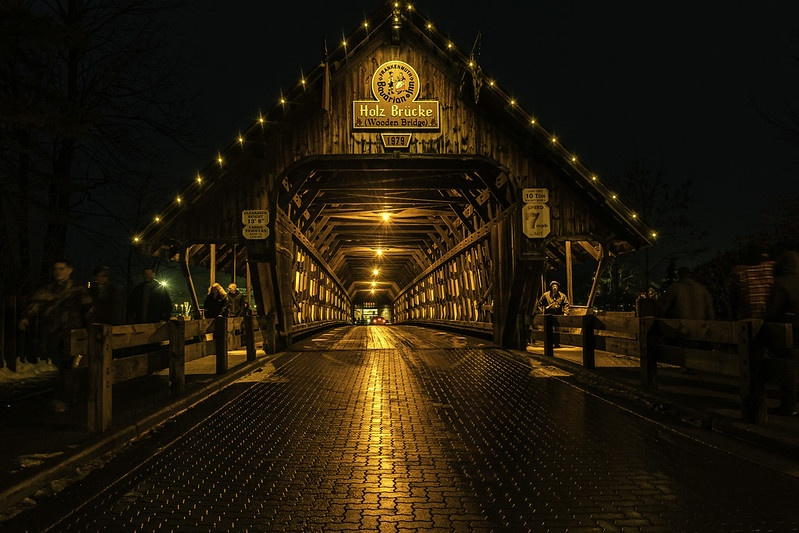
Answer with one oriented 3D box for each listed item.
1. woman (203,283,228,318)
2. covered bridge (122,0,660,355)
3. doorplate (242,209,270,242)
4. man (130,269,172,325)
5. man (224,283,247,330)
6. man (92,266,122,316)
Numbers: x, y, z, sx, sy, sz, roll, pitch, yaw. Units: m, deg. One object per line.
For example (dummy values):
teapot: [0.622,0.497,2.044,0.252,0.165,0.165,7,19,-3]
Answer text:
woman: [-5.124,0.949,18.431,0.631,0.951,0.720,-1,3,-17]
covered bridge: [-0.565,-2.705,30.474,11.029,8.652,21.740,0,-2,-2]
doorplate: [-4.281,-1.247,19.636,0.852,0.918,0.384,-1,3,-14]
man: [-6.208,0.700,16.305,0.957,1.363,1.658,-2,3,-23]
man: [-4.888,1.014,19.828,0.495,0.983,1.759,-1,3,-8]
man: [-5.838,0.551,13.070,0.545,1.143,1.062,-2,3,-26]
